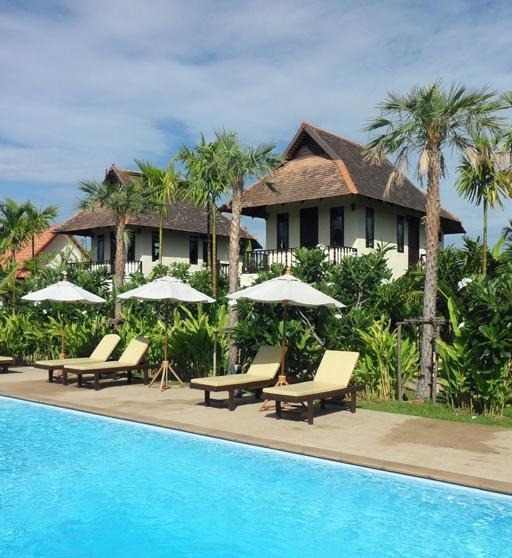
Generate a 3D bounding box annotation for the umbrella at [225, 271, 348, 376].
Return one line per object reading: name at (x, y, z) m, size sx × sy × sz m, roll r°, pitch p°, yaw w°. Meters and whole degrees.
umbrella at (0.696, 0.782, 11.864) m, size 2.262 × 2.379 × 2.207 m, roll 1°, pitch -3°, yaw -33°
